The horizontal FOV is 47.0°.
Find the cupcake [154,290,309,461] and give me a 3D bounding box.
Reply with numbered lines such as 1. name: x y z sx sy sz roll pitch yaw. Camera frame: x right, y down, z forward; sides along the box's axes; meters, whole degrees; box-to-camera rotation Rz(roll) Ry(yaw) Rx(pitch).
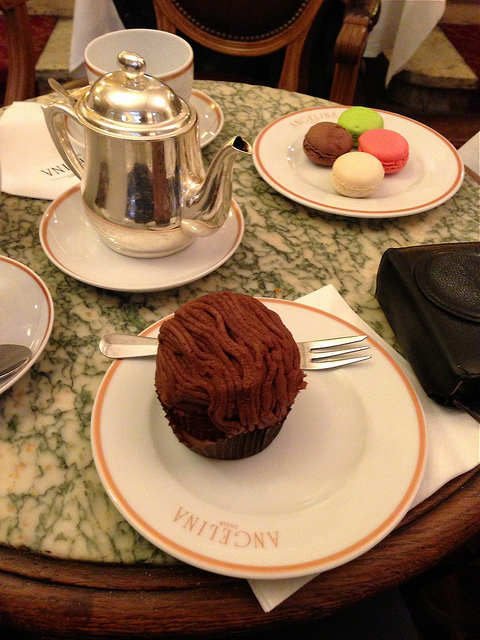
1. cupcake: -0.014 0.048 0.454 0.108 0.108 0.112 -4 44 -13

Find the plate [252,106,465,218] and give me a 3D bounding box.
1. plate: 0.164 -0.227 0.810 0.218 0.102 0.236 -19 35 -27

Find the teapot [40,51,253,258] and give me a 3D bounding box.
1. teapot: -0.111 -0.183 0.612 0.236 0.199 0.142 19 44 14
